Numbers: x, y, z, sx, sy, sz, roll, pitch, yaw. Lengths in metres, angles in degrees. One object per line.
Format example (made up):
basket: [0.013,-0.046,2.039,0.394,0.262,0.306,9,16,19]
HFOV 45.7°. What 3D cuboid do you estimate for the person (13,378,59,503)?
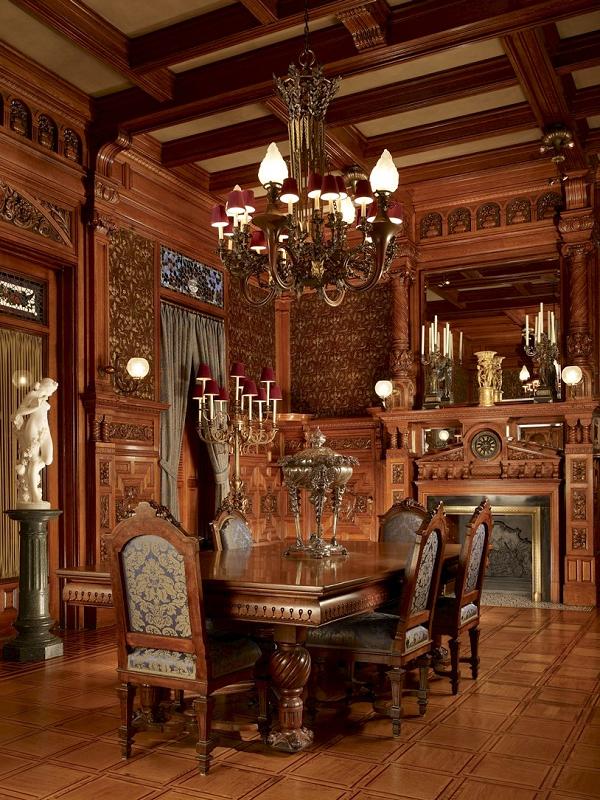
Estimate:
person: [-1.578,0.257,4.182,0.219,0.758,0.289,3,-10,-20]

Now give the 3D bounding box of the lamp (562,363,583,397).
lamp: [2.259,-0.178,5.885,0.163,0.225,0.059,7,6,30]

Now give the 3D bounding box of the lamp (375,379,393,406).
lamp: [0.792,-0.068,6.700,0.154,0.268,0.253,-2,-9,8]

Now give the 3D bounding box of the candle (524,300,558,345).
candle: [2.120,-0.673,6.312,0.361,0.440,0.347,-2,-1,13]
